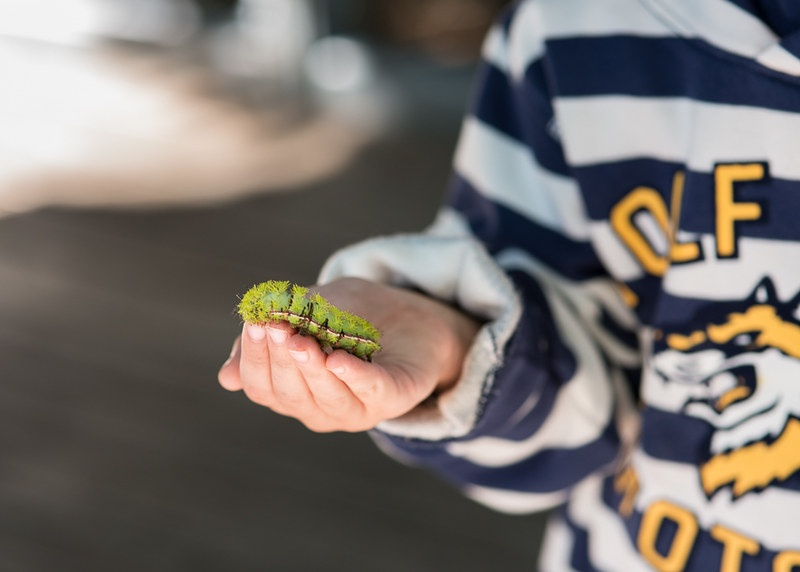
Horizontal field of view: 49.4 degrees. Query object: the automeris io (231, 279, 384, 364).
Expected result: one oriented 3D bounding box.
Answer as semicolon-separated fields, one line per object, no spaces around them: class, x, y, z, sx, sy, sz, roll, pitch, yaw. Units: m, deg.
automeris io;-0.086;0.039;0.887;0.134;0.097;0.066;9;50;14
